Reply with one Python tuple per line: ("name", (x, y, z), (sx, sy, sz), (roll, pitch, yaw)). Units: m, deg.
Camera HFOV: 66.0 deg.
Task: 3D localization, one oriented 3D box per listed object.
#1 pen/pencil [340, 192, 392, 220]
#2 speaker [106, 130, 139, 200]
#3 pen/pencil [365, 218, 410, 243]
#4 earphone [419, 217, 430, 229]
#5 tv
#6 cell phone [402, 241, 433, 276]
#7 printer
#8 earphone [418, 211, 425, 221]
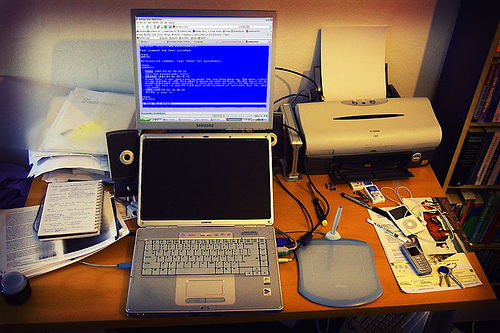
("pen/pencil", (0.492, 0.170, 1.636), (0.194, 0.025, 0.022), (28, 16, 13))
("speaker", (-0.558, -0.013, 1.639), (0.122, 0.278, 0.159), (6, 13, 27))
("pen/pencil", (0.558, 0.263, 1.559), (0.155, 0.017, 0.021), (30, 4, 21))
("earphone", (0.715, 0.231, 1.580), (0.015, 0.018, 0.050), (-2, 41, -2))
("tv", (-0.165, -0.382, 1.501), (0.559, 0.440, 0.304), (-1, 36, -6))
("cell phone", (0.638, 0.353, 1.479), (0.071, 0.028, 0.117), (-17, 59, -13))
("printer", (0.513, -0.300, 1.747), (0.653, 0.633, 0.409), (-1, 23, 5))
("earphone", (0.711, 0.207, 1.602), (0.014, 0.011, 0.030), (22, 44, 14))
